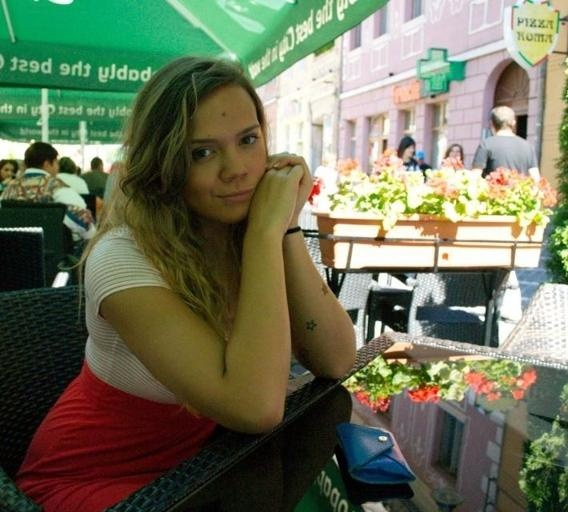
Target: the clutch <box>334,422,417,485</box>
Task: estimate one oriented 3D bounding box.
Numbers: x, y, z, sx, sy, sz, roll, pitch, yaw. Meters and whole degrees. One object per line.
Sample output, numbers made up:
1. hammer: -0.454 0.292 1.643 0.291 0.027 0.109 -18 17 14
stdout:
1. clutch: 0.174 0.375 1.015 0.148 0.055 0.170 6 12 1
